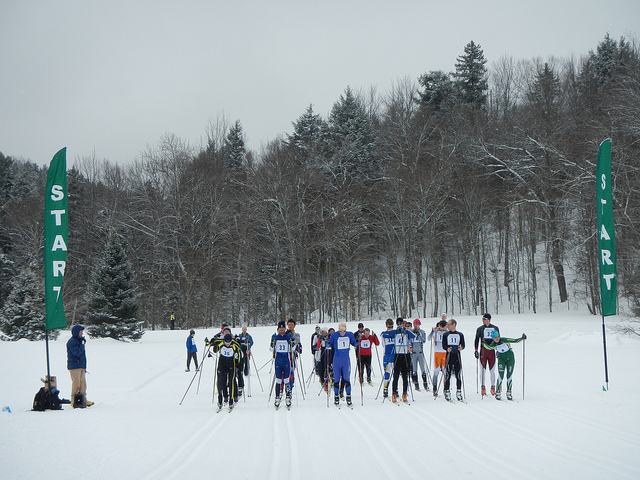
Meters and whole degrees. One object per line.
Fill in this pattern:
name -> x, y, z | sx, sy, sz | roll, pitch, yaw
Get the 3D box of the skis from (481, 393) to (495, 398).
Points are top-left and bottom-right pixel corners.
skis -> 6.692, 6.260, 27.291 | 0.330, 0.159, 0.228 | -3, -3, -24

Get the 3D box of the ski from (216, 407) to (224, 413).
ski -> -3.829, 6.549, 26.057 | 0.066, 0.068, 0.238 | 30, -52, -27

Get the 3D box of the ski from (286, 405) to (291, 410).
ski -> -1.200, 6.499, 26.264 | 0.153, 0.123, 0.244 | -2, -11, -12

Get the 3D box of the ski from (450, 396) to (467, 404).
ski -> 5.528, 6.323, 26.824 | 0.476, 0.160, 0.082 | 21, -8, 45

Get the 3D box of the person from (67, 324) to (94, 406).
person -> -9.606, 5.008, 26.984 | 0.722, 3.176, 0.832 | -4, -9, 4

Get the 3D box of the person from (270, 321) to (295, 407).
person -> -1.429, 4.889, 26.827 | 0.956, 3.352, 0.914 | 2, -10, -28

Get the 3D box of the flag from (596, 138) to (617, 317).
flag -> 11.851, -0.335, 27.975 | 0.086, 7.569, 0.771 | 1, -4, -27

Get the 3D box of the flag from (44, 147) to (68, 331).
flag -> -10.754, -0.064, 27.805 | 1.103, 7.614, 0.077 | 0, 5, -17

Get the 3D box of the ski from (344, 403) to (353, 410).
ski -> 1.132, 6.456, 26.333 | 0.098, 0.094, 0.502 | -10, 15, -33

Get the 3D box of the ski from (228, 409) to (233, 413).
ski -> -3.425, 6.561, 26.033 | 0.089, 0.110, 0.366 | 6, 2, 1

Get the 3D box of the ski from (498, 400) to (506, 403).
ski -> 7.123, 6.277, 26.389 | 0.161, 0.088, 0.374 | -4, -11, 0

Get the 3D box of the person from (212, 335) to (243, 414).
person -> -3.569, 5.215, 26.581 | 0.996, 2.960, 0.852 | -1, -9, -11
